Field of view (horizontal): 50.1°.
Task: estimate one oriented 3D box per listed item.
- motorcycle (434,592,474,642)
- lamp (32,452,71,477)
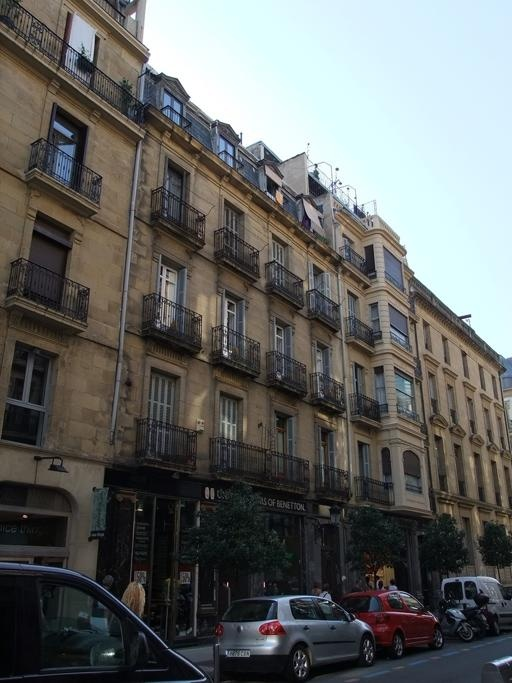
[{"bbox_3d":[6.066,8.860,17.407,1.485,0.911,0.747,-4,-34,35],"label":"motorcycle"},{"bbox_3d":[-4.848,2.936,13.170,0.386,0.407,0.934,-15,-27,33],"label":"lamp"}]
